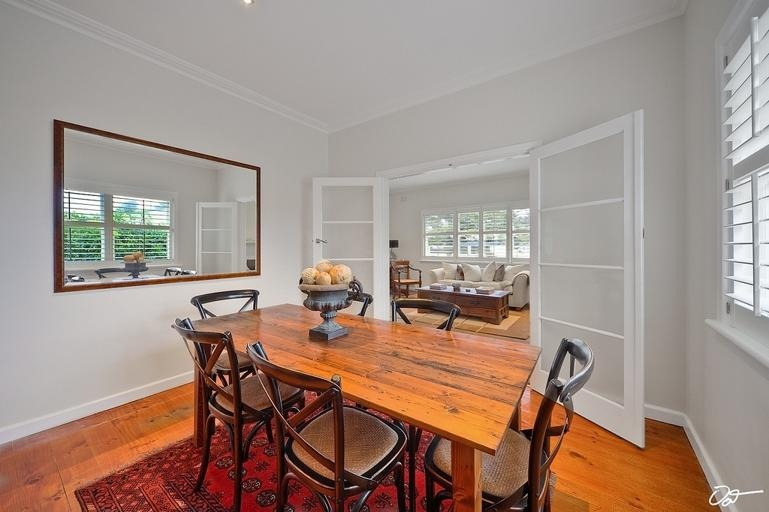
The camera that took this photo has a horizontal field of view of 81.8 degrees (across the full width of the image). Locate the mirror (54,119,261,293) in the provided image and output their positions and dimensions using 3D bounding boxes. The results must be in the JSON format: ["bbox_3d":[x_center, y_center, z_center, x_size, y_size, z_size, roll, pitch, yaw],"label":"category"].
[{"bbox_3d":[-2.252,-0.478,4.270,0.124,1.322,1.897,4,3,42],"label":"mirror"}]

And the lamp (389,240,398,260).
[{"bbox_3d":[0.235,-0.122,10.134,0.207,0.410,0.511,-3,0,2],"label":"lamp"}]

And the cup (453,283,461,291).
[{"bbox_3d":[1.215,0.537,7.485,0.139,0.107,0.080,0,1,14],"label":"cup"}]
